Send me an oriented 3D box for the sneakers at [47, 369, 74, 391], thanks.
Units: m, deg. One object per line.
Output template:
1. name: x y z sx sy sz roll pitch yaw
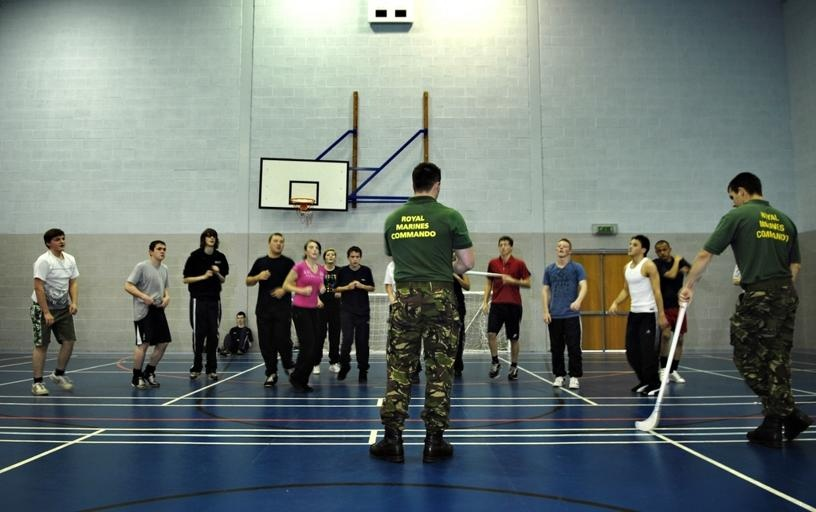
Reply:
1. sneakers: -6.507 2.336 13.842 0.403 0.181 0.143 41 7 -30

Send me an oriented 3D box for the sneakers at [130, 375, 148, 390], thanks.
1. sneakers: -4.969 2.342 13.705 0.209 0.201 0.428 -9 16 -35

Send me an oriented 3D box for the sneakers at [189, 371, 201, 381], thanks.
1. sneakers: -4.185 2.358 14.543 0.148 0.121 0.194 -1 -14 -4

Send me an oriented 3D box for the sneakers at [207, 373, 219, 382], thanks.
1. sneakers: -3.837 2.382 14.506 0.136 0.123 0.300 2 -2 -13

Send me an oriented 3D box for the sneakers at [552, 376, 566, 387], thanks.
1. sneakers: 2.791 2.309 13.713 0.215 0.229 0.303 2 13 6

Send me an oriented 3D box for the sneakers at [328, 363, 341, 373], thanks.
1. sneakers: -1.547 2.360 15.570 0.245 0.174 0.407 0 -10 -6

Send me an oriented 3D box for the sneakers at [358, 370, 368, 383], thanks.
1. sneakers: -0.878 2.380 14.481 0.180 0.169 0.306 1 48 4

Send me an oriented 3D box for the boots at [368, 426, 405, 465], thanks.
1. boots: -0.306 2.706 10.922 0.336 0.598 0.679 7 -6 -41

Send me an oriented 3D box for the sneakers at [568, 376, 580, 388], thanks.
1. sneakers: 3.084 2.368 13.721 0.150 0.131 0.347 -3 -13 10

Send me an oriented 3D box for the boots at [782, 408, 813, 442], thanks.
1. boots: 5.808 2.518 11.047 0.482 0.502 0.213 -4 14 -19

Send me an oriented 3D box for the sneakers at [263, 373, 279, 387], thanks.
1. sneakers: -2.575 2.305 13.845 0.223 0.221 0.279 -2 13 -8

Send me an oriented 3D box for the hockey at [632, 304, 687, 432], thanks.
1. hockey: 4.331 1.942 12.819 0.216 2.023 0.372 27 -4 -37

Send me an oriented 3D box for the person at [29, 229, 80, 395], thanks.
1. person: -6.392 1.048 13.331 0.835 2.989 1.172 -1 14 -5
